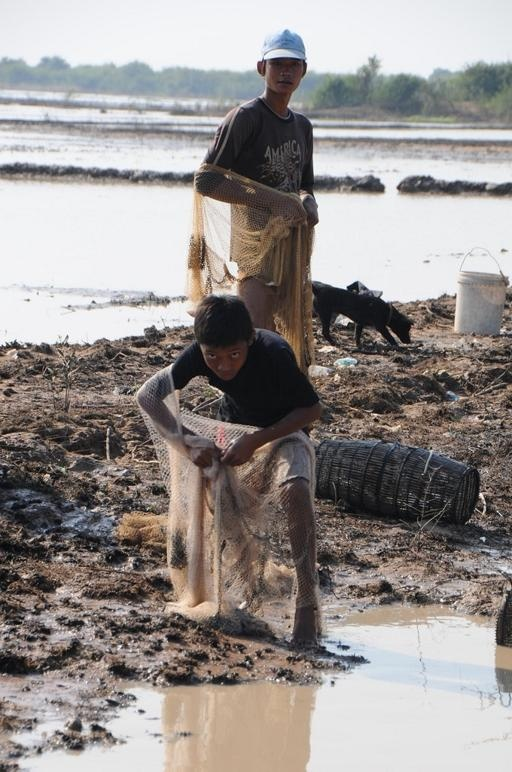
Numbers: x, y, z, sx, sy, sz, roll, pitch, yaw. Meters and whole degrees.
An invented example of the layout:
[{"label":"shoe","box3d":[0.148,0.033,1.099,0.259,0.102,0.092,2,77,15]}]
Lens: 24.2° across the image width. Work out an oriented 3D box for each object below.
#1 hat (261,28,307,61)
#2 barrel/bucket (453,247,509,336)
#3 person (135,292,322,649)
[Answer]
[{"label":"hat","box3d":[0.110,-1.389,4.852,0.166,0.122,0.205,0,2,2]},{"label":"barrel/bucket","box3d":[1.839,-0.685,9.911,0.415,0.529,0.687,0,2,9]},{"label":"person","box3d":[-0.070,0.299,4.350,0.609,1.240,0.607,-1,3,-24]}]
